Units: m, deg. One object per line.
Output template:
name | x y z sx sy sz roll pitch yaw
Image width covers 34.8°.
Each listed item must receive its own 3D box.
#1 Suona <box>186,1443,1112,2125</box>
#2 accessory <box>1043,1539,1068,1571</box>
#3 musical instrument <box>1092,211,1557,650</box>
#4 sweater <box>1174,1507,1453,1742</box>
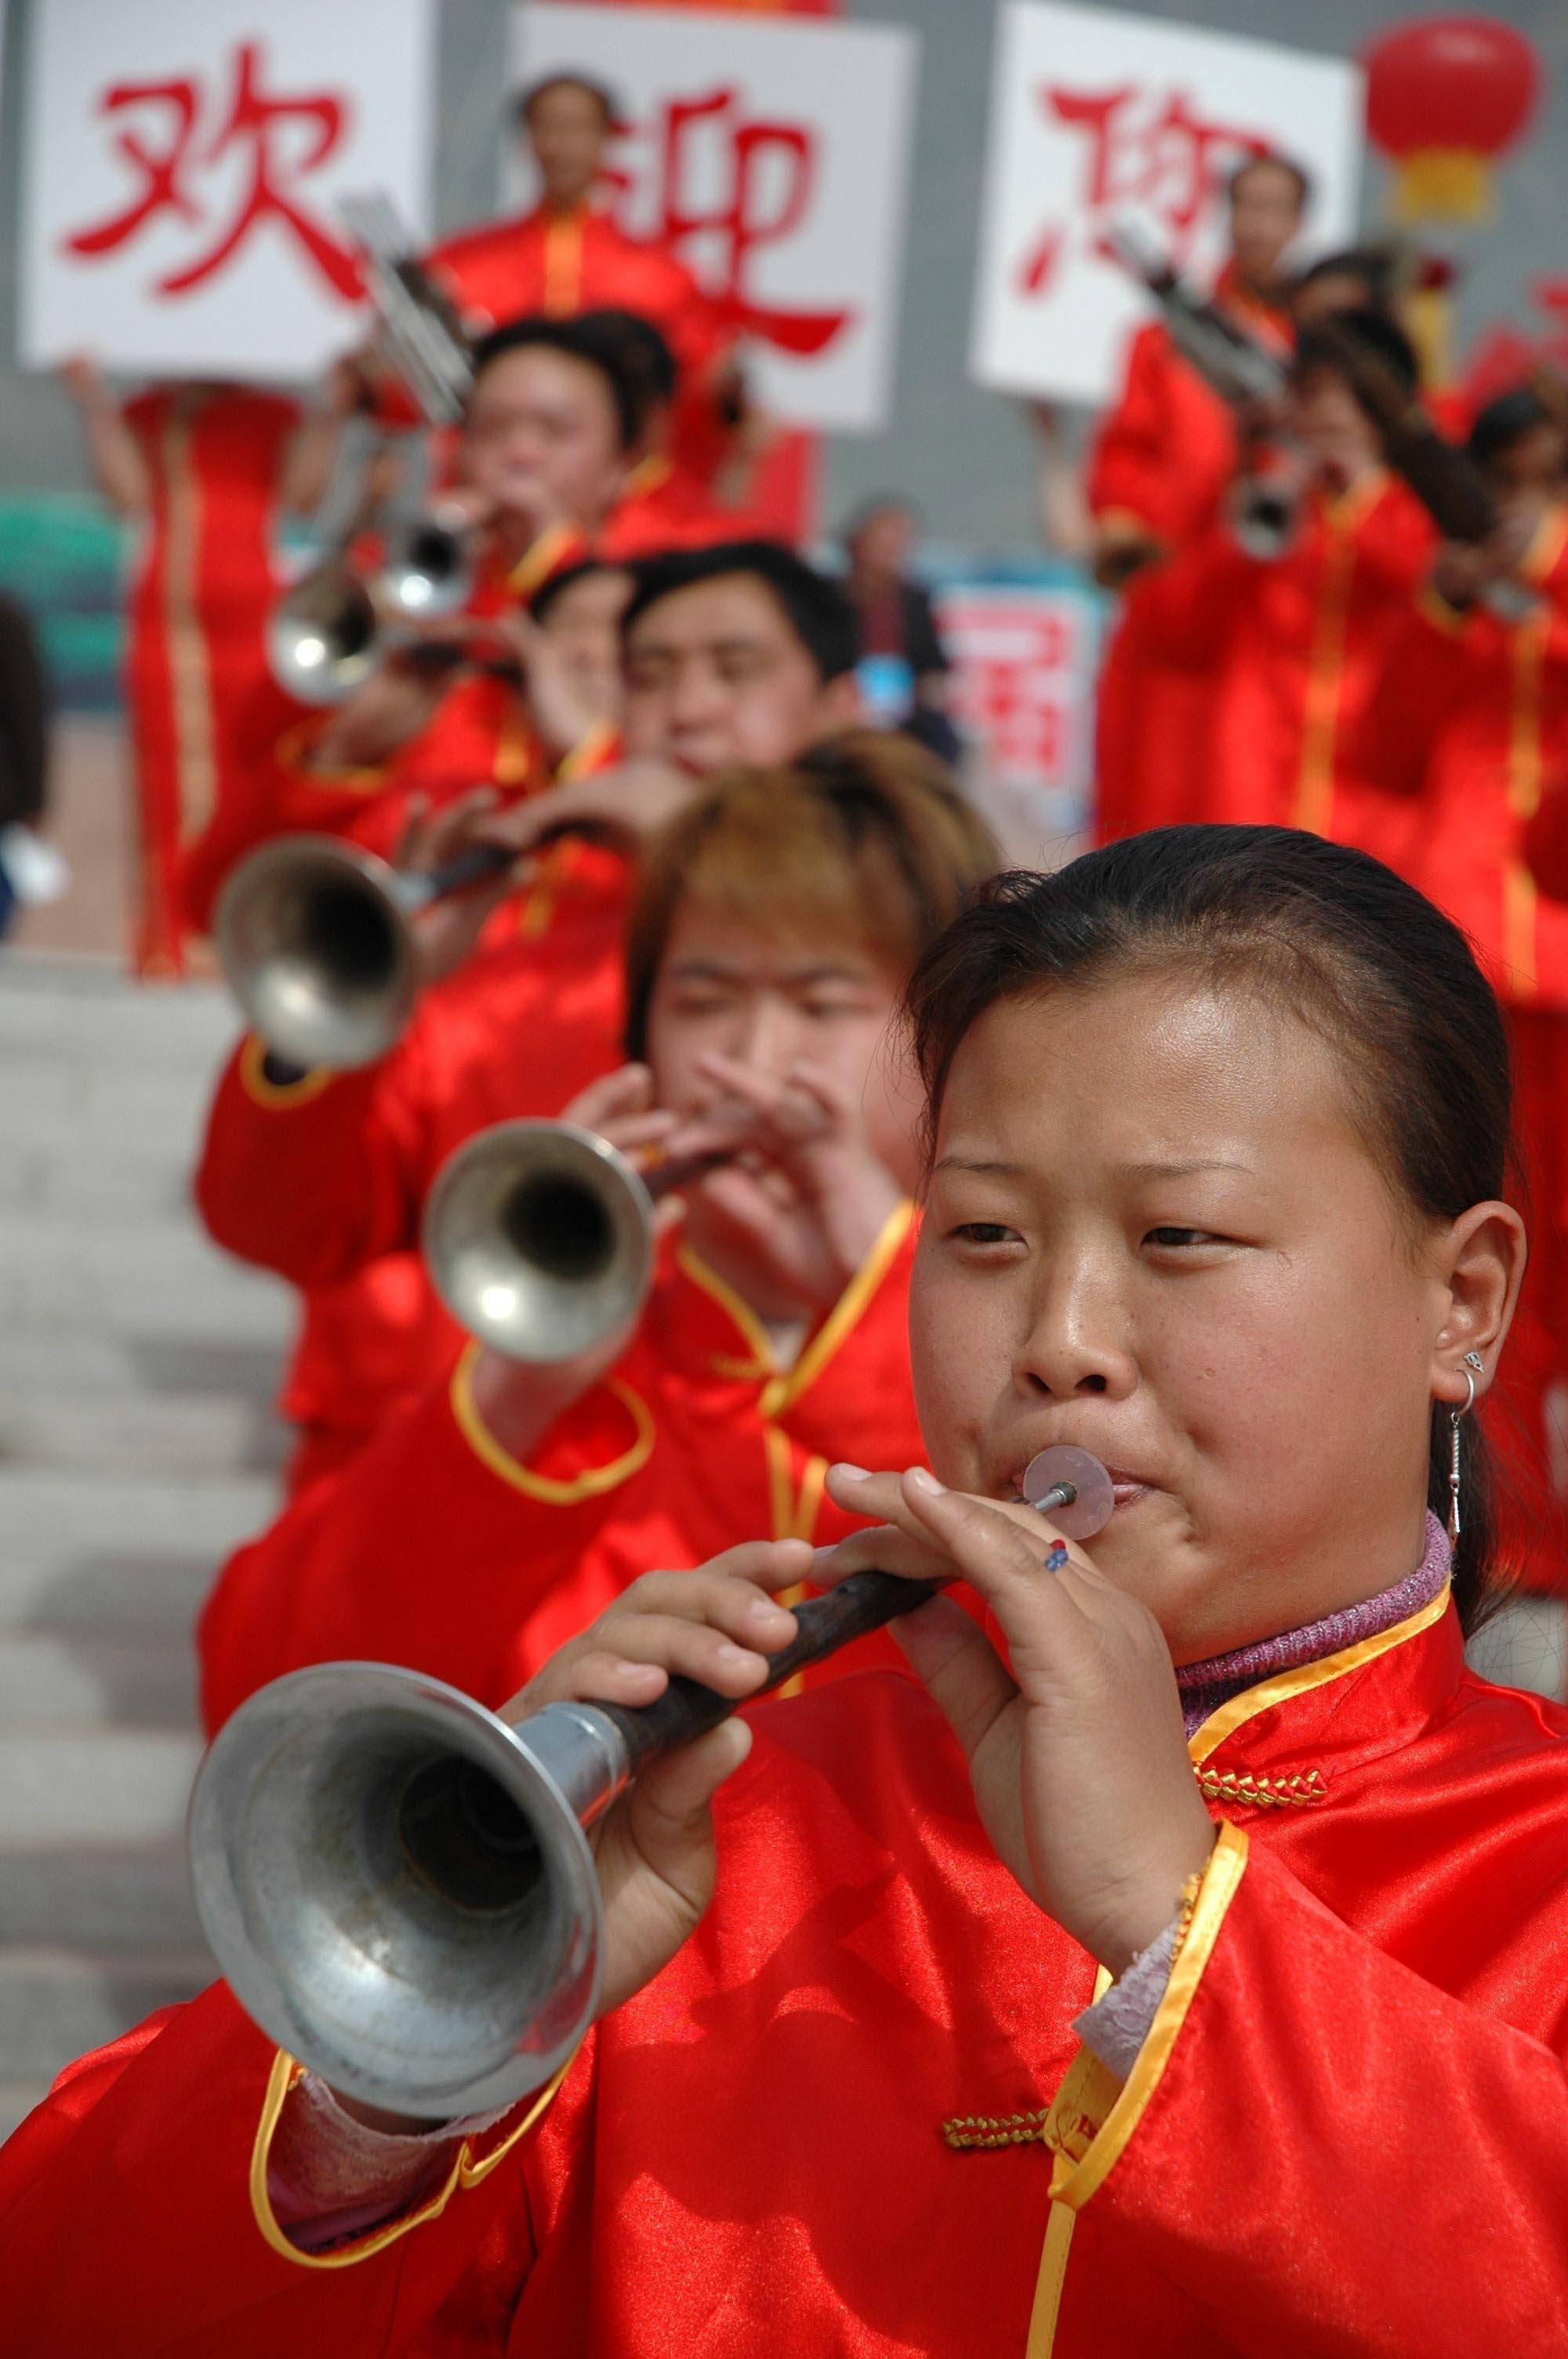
Suona | -0.084 0.309 1.268 0.139 0.124 0.401 5 11 36
accessory | 0.142 0.199 1.318 0.011 0.014 0.004 7 -18 32
musical instrument | 0.985 -1.483 4.851 0.545 0.719 1.021 1 15 -16
sweater | 0.318 0.256 1.455 0.152 0.037 0.112 -25 4 -13
